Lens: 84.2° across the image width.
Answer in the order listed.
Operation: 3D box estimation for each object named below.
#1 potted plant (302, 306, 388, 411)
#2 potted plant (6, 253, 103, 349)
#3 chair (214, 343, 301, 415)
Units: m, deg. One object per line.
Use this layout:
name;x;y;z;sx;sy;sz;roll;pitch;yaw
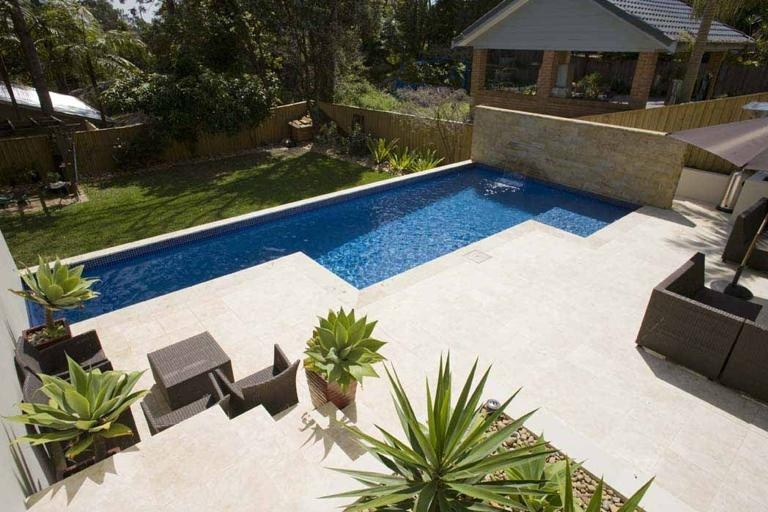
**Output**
potted plant;-0.585;1.520;5.889;1.067;1.416;0.910;-4;28;-4
potted plant;-4.989;0.648;6.349;0.955;1.138;0.948;15;13;43
chair;-1.814;1.819;6.051;0.616;0.697;0.478;-23;59;-33
